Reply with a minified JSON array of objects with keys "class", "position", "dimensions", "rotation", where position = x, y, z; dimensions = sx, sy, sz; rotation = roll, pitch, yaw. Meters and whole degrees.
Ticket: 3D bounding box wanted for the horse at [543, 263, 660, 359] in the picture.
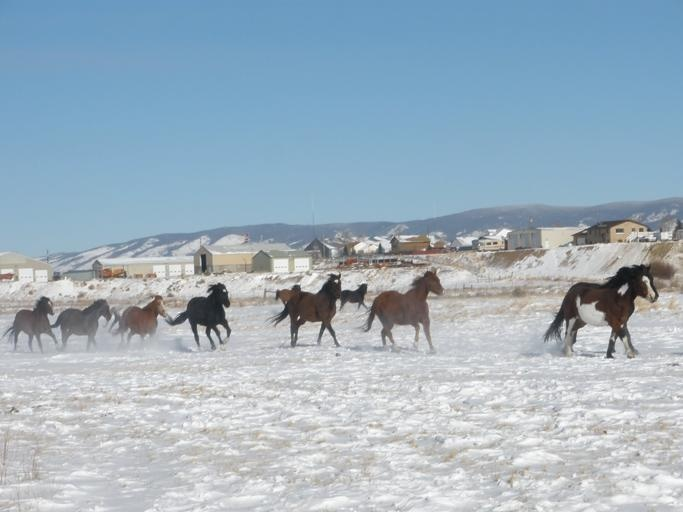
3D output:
[{"class":"horse","position":[6.402,1.479,25.786],"dimensions":[0.957,2.303,3.877],"rotation":[7,-6,-26]}]
